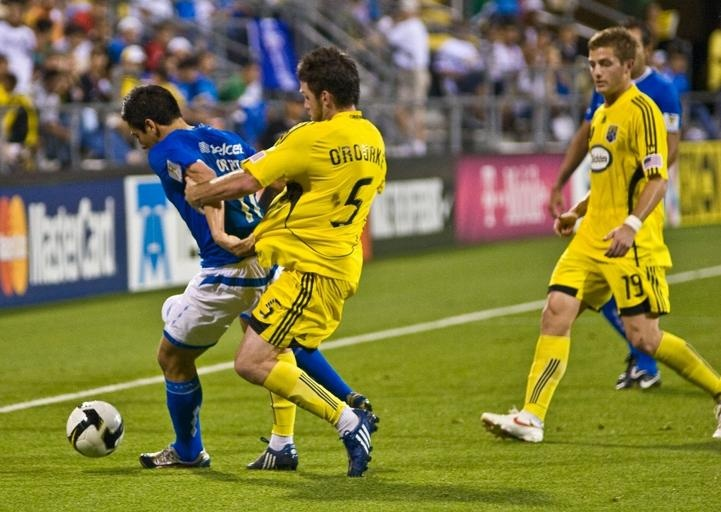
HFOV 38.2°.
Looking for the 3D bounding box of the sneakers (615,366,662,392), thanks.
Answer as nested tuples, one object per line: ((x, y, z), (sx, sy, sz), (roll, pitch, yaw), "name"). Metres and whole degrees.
((2.107, 0.950, 7.895), (0.285, 0.134, 0.182), (-10, -35, 22), "sneakers")

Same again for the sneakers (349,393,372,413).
((0.002, 0.908, 6.558), (0.167, 0.071, 0.083), (30, -21, -3), "sneakers")

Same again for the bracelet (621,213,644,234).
((1.695, -0.199, 6.486), (0.109, 0.077, 0.110), (26, 1, 24), "bracelet")

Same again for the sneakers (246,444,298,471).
((-0.509, 1.272, 6.572), (0.369, 0.153, 0.126), (0, -12, 8), "sneakers")

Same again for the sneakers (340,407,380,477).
((-0.007, 1.125, 6.412), (0.235, 0.430, 0.160), (-3, 7, -30), "sneakers")

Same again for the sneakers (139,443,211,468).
((-1.167, 1.278, 6.647), (0.467, 0.168, 0.158), (4, -11, -2), "sneakers")

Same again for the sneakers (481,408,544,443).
((0.991, 1.100, 6.809), (0.423, 0.201, 0.169), (19, -32, 1), "sneakers")
